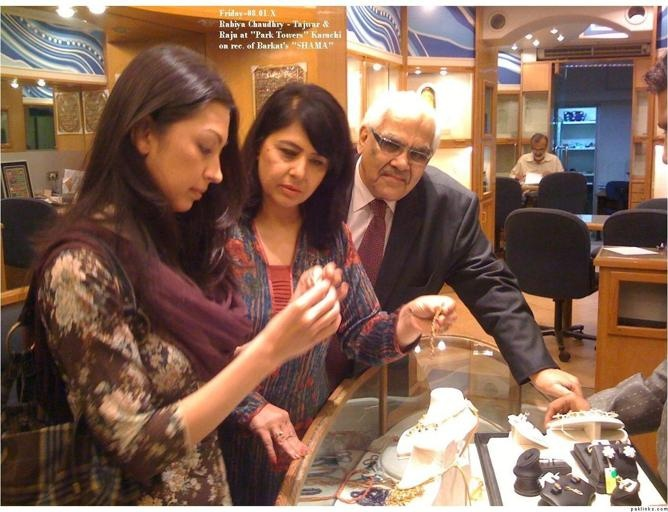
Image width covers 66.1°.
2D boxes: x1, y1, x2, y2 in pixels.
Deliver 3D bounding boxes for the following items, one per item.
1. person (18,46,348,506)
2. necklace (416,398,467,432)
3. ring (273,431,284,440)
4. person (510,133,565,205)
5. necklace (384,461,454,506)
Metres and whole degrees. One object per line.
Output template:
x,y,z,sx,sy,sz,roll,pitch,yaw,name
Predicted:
-0.360,0.001,1.146,0.584,0.939,0.430,-3,6,-33,person
0.233,0.350,1.142,0.154,0.035,0.063,-4,6,-38,necklace
-0.150,0.488,1.390,0.018,0.006,0.018,-1,19,0,ring
2.176,-0.897,5.462,0.544,0.781,0.423,4,25,22,person
0.162,0.465,1.051,0.104,0.046,0.084,9,49,20,necklace
